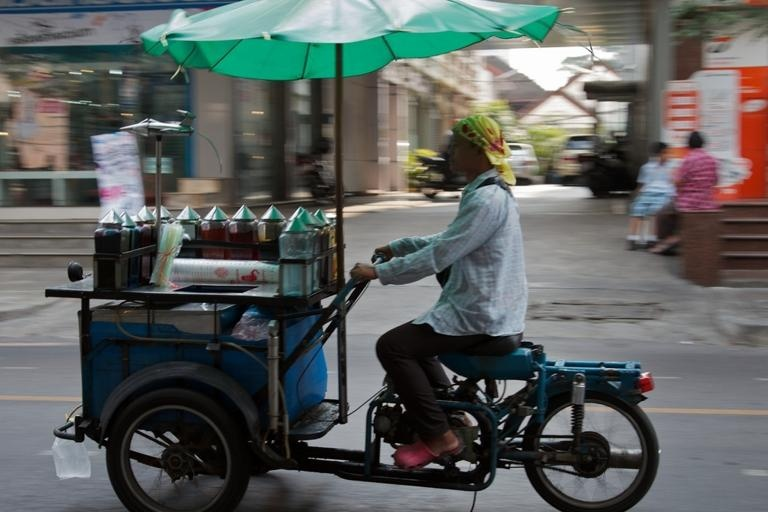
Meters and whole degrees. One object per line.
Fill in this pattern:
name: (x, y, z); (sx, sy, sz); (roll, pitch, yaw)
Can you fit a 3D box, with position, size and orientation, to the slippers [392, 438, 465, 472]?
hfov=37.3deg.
slippers: (0.429, 1.751, 10.683); (0.982, 0.295, 0.408); (2, 9, 6)
